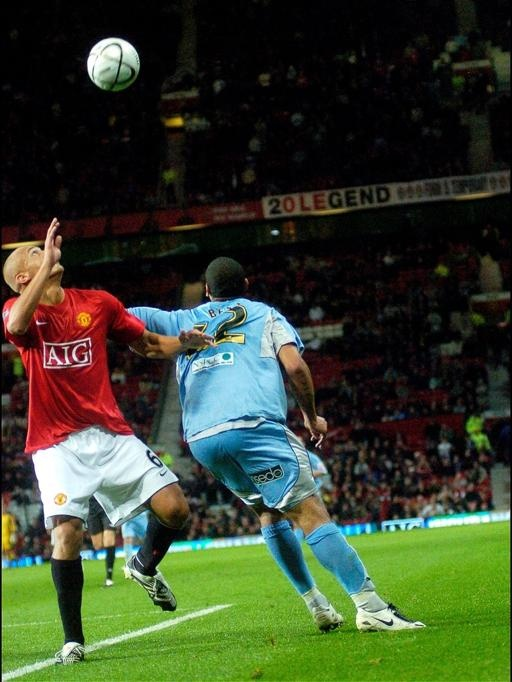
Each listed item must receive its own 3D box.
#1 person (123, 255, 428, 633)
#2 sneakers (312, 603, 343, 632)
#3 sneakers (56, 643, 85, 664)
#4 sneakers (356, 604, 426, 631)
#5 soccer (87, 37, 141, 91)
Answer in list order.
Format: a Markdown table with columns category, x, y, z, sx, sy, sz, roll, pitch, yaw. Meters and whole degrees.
| category | x | y | z | sx | sy | sz | roll | pitch | yaw |
| --- | --- | --- | --- | --- | --- | --- | --- | --- | --- |
| person | 0.105 | 0.598 | 4.317 | 1.177 | 1.492 | 0.497 | -7 | -2 | 11 |
| sneakers | 0.355 | 1.350 | 4.205 | 0.105 | 0.113 | 0.182 | -8 | -4 | 36 |
| sneakers | -0.898 | 1.486 | 4.086 | 0.136 | 0.072 | 0.186 | -5 | -3 | -15 |
| sneakers | 0.664 | 1.313 | 4.067 | 0.375 | 0.144 | 0.115 | 0 | -10 | -3 |
| soccer | -0.919 | -1.770 | 5.492 | 0.356 | 0.329 | 0.335 | -13 | 36 | -32 |
